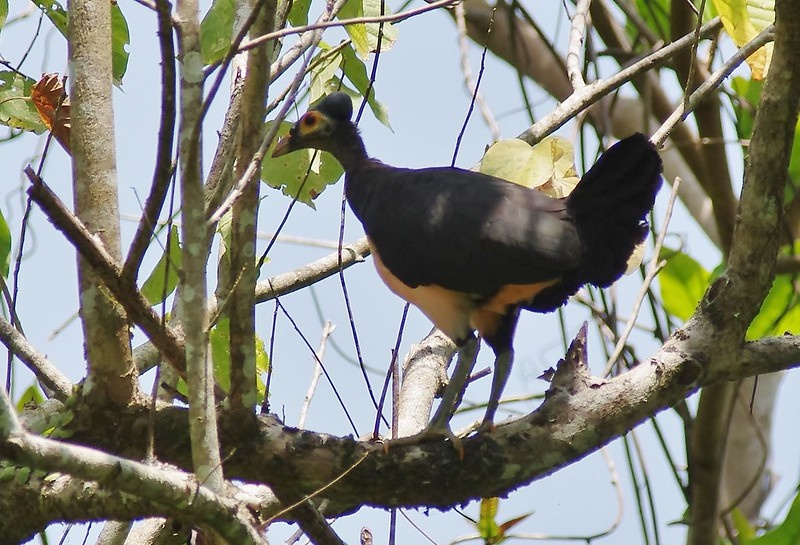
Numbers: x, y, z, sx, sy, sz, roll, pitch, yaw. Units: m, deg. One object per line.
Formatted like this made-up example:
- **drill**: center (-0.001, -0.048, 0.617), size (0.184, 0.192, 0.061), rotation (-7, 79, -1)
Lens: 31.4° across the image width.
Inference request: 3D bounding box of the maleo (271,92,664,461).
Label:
- **maleo**: center (0.294, 0.024, 7.817), size (2.140, 2.191, 0.772), rotation (0, -16, 15)
